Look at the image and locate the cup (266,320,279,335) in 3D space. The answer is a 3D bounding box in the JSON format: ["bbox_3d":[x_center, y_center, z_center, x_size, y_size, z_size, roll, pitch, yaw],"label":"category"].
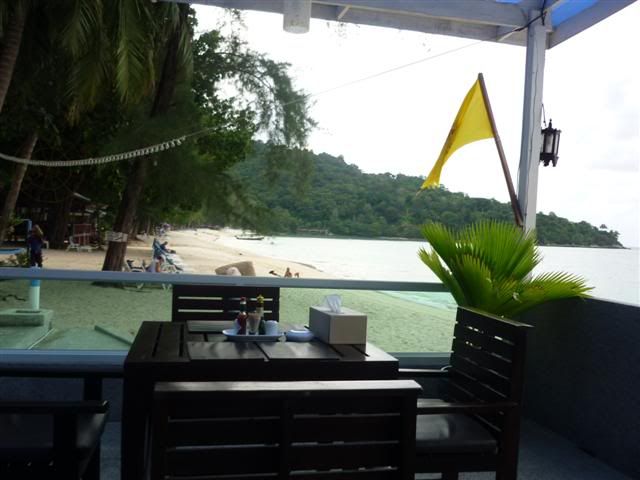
[{"bbox_3d":[-0.238,0.442,2.338,0.062,0.070,0.069,2,-2,-9],"label":"cup"}]

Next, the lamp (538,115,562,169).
[{"bbox_3d":[2.117,-0.882,4.182,0.131,0.404,0.254,10,5,42],"label":"lamp"}]

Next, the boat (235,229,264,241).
[{"bbox_3d":[-1.559,-0.115,10.181,0.596,0.261,0.212,-5,5,-4],"label":"boat"}]

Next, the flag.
[{"bbox_3d":[1.318,-1.106,4.565,0.164,1.263,1.446,24,2,10],"label":"flag"}]

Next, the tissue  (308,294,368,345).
[{"bbox_3d":[0.081,0.408,2.470,0.205,0.234,0.372,2,-1,-23],"label":"tissue "}]

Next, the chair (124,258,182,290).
[{"bbox_3d":[-1.669,0.327,4.668,0.577,0.383,0.295,-2,0,1],"label":"chair"}]
